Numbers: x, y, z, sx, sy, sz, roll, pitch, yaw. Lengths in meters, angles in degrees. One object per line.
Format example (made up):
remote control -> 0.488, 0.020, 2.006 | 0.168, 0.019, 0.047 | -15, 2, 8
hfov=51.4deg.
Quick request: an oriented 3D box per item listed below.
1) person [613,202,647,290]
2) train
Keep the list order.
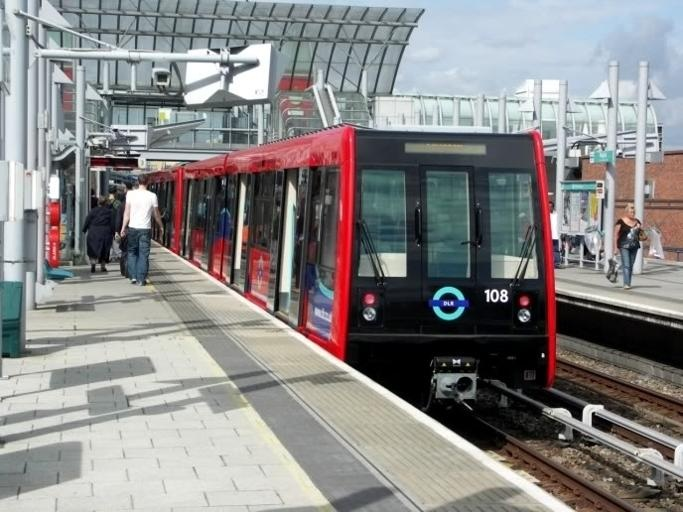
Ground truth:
person -> 7.159, -0.256, 17.774 | 0.628, 2.106, 0.984 | 2, 4, 20
train -> -0.640, -0.437, 15.634 | 2.841, 3.981, 14.933 | -1, 3, -16
